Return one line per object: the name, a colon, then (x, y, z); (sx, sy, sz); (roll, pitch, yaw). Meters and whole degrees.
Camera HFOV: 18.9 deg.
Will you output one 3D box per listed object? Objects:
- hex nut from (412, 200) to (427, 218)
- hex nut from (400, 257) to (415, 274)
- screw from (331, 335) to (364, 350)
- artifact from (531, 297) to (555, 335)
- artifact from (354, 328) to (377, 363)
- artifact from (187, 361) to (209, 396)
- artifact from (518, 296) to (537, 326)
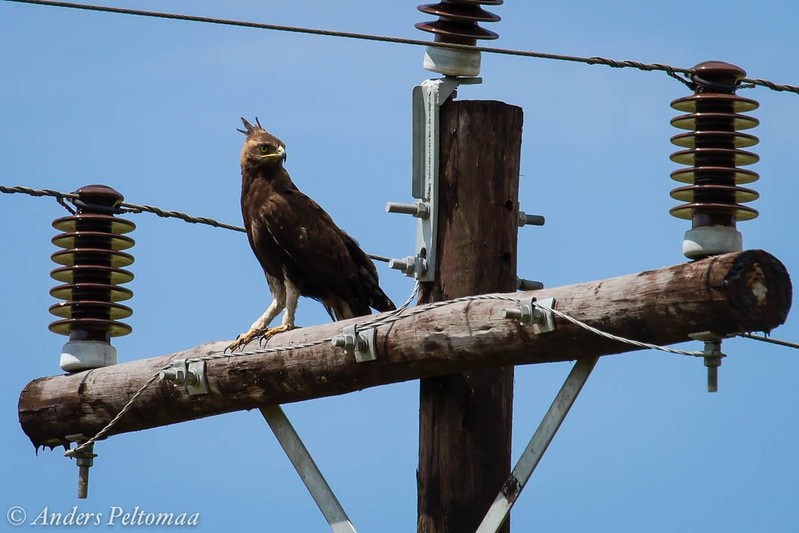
hex nut: (0.130, -0.391, 16.233); (0.111, 0.122, 0.082); (2, -11, -26)
hex nut: (0.042, -0.006, 16.138); (0.099, 0.115, 0.149); (-6, -10, 22)
screw: (-0.349, 0.500, 15.835); (0.173, 0.075, 0.095); (4, -4, -38)
artifact: (0.910, 0.307, 15.173); (0.149, 0.215, 0.097); (-5, -10, 16)
artifact: (-0.224, 0.513, 15.845); (0.075, 0.218, 0.207); (11, -14, -42)
artifact: (-1.395, 0.774, 16.608); (0.060, 0.203, 0.216); (-3, 4, -8)
artifact: (0.809, 0.277, 15.189); (0.118, 0.196, 0.149); (11, -15, -32)
